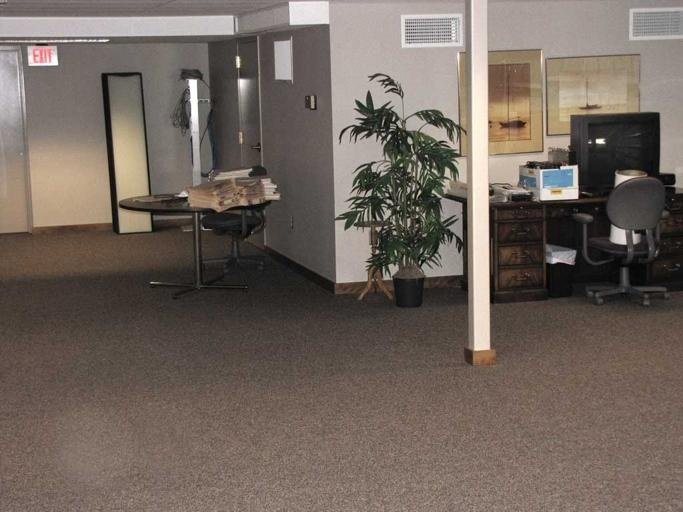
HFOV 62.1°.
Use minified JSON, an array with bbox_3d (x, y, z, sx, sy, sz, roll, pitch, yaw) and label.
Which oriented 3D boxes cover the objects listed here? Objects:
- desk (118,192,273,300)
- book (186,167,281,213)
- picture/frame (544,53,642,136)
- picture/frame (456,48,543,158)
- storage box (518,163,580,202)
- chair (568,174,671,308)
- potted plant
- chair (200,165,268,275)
[{"bbox_3d":[-1.597,-0.095,6.274,1.601,0.984,1.536,-1,9,-9],"label":"desk"},{"bbox_3d":[-1.174,-0.699,6.077,0.568,0.367,0.955,7,15,33],"label":"book"},{"bbox_3d":[2.694,-1.766,6.155,1.011,0.707,0.017,-3,11,-5],"label":"picture/frame"},{"bbox_3d":[1.898,-1.657,6.168,0.652,1.111,0.120,-5,13,-15],"label":"picture/frame"},{"bbox_3d":[2.072,-0.723,5.686,0.540,0.333,0.253,3,13,19],"label":"storage box"},{"bbox_3d":[2.716,-0.149,5.448,0.893,1.234,0.597,-11,16,-37],"label":"chair"},{"bbox_3d":[0.608,-0.663,5.631,1.179,2.262,0.990,1,13,11],"label":"potted plant"},{"bbox_3d":[-1.337,-0.444,6.874,0.762,1.130,0.896,3,7,-12],"label":"chair"}]
